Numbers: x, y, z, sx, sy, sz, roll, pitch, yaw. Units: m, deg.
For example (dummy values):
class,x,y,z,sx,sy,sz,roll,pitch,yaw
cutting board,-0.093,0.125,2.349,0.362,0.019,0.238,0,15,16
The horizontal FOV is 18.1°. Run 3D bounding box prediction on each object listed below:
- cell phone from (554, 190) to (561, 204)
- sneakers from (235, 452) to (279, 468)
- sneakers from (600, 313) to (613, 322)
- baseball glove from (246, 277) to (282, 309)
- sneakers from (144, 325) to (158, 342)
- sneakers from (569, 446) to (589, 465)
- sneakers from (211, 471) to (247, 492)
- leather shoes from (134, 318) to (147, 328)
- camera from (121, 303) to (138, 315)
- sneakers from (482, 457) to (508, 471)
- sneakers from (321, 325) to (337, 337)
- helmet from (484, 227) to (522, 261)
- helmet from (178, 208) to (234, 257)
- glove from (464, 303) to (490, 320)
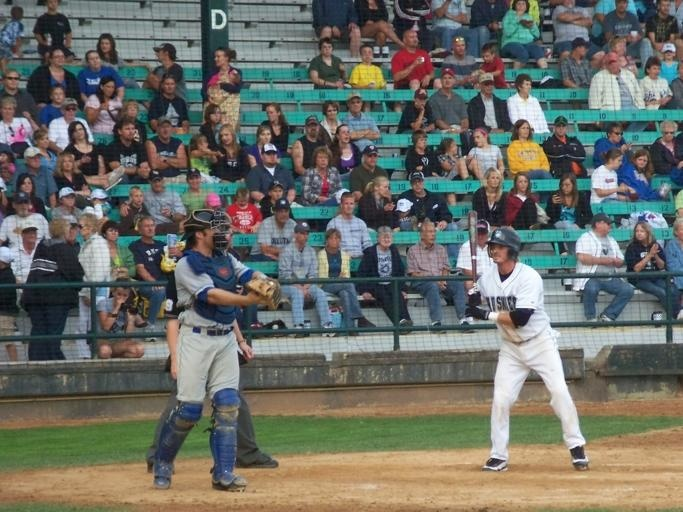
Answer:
class,x,y,z,sx,sy,sz,roll,pitch,yaw
cell phone,3.473,-0.931,35.119,0.155,0.164,0.048,2,-17,1
sneakers,-1.199,2.869,29.543,0.569,0.264,0.232,-1,0,-6
sneakers,4.085,1.032,33.581,0.224,0.102,0.078,6,13,35
baseball glove,-1.071,0.547,28.756,0.437,0.446,0.282,-3,4,-5
sneakers,-2.949,1.249,32.645,0.185,0.255,0.568,1,-6,-7
sneakers,3.209,2.837,29.401,0.134,0.178,0.393,-9,-34,9
sneakers,-1.542,3.125,28.683,0.393,0.184,0.214,-1,0,10
leather shoes,-3.091,1.082,32.640,0.134,0.152,0.152,2,4,4
camera,-3.229,0.865,32.592,0.179,0.179,0.069,-41,21,28
sneakers,2.058,2.945,29.419,0.322,0.145,0.151,6,-11,-17
sneakers,-0.243,1.215,33.015,0.159,0.213,0.219,2,-1,5
helmet,2.199,-0.140,29.549,0.438,0.407,0.348,11,-3,-32
helmet,-1.865,-0.329,29.088,0.631,0.599,0.489,-9,8,-12
glove,1.850,0.841,29.741,0.250,0.103,0.232,20,-12,33
